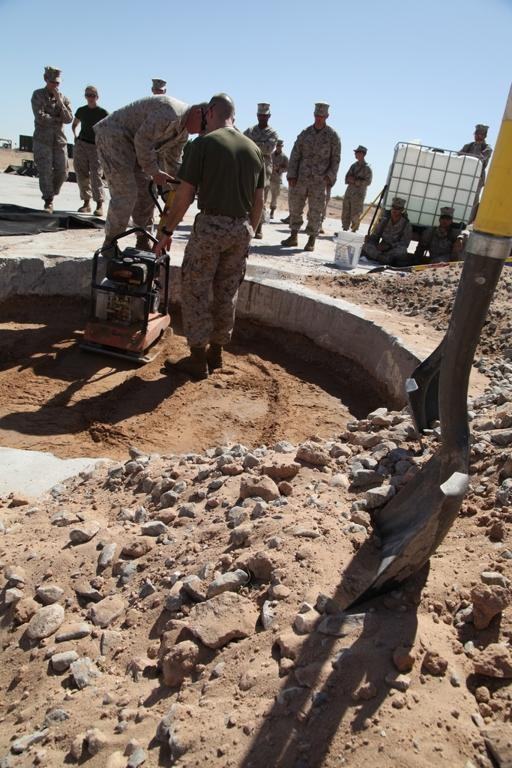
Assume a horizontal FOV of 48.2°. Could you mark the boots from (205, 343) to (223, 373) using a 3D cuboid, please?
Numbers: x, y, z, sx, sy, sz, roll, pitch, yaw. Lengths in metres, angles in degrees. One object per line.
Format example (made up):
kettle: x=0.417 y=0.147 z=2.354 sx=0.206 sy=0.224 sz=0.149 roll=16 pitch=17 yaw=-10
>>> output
boots: x=-0.370 y=-0.226 z=5.035 sx=0.110 sy=0.251 sz=0.243 roll=2 pitch=-9 yaw=-2

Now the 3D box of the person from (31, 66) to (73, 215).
person: x=-3.112 y=-3.690 z=8.684 sx=0.551 sy=1.988 sz=0.901 roll=5 pitch=18 yaw=-14

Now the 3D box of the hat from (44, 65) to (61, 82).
hat: x=-2.983 y=-4.527 z=8.387 sx=0.186 sy=0.195 sz=0.186 roll=4 pitch=18 yaw=-18

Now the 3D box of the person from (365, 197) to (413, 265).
person: x=2.060 y=-2.397 z=8.990 sx=0.685 sy=1.015 sz=0.659 roll=12 pitch=17 yaw=7

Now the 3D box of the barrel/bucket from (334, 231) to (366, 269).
barrel/bucket: x=1.241 y=-1.845 z=7.888 sx=0.329 sy=0.480 sz=0.522 roll=11 pitch=17 yaw=4

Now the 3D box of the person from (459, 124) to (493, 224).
person: x=4.001 y=-4.069 z=10.813 sx=0.535 sy=1.729 sz=0.524 roll=14 pitch=-4 yaw=24

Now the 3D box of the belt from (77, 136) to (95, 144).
belt: x=-2.555 y=-3.706 z=8.689 sx=0.165 sy=0.044 sz=0.161 roll=-2 pitch=9 yaw=-18

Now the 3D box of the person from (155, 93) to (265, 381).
person: x=-0.374 y=-1.045 z=4.396 sx=0.647 sy=2.180 sz=0.851 roll=12 pitch=17 yaw=7

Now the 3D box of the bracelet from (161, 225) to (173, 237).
bracelet: x=-0.691 y=-1.180 z=4.421 sx=0.079 sy=0.045 sz=0.076 roll=15 pitch=4 yaw=-6

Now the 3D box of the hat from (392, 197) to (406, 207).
hat: x=2.191 y=-2.832 z=8.912 sx=0.202 sy=0.123 sz=0.233 roll=13 pitch=11 yaw=11

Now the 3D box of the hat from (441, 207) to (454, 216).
hat: x=2.928 y=-2.673 z=8.890 sx=0.188 sy=0.124 sz=0.239 roll=1 pitch=-9 yaw=12

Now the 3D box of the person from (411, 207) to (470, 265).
person: x=2.806 y=-2.265 z=8.805 sx=0.620 sy=0.889 sz=0.883 roll=9 pitch=17 yaw=-3
